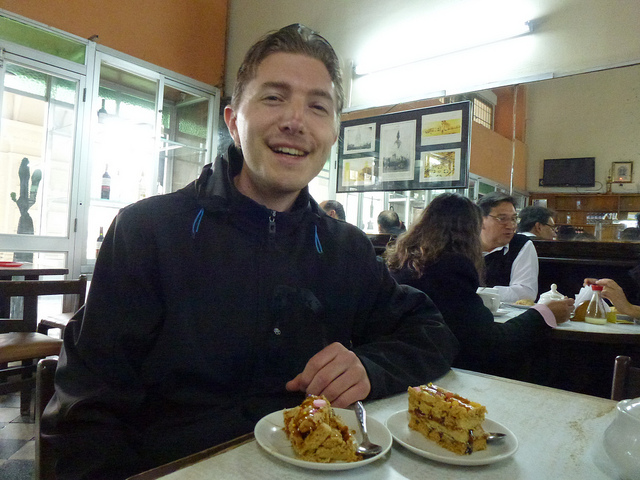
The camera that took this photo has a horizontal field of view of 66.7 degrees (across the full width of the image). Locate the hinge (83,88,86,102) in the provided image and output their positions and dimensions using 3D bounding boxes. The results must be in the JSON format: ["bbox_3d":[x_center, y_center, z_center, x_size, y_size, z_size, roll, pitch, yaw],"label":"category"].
[{"bbox_3d":[-2.174,-1.334,4.476,0.024,0.122,0.011,-2,3,-26],"label":"hinge"}]

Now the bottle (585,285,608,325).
[{"bbox_3d":[1.416,0.329,2.477,0.090,0.196,0.194,2,4,45],"label":"bottle"}]

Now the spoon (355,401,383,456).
[{"bbox_3d":[0.102,0.452,1.175,0.052,0.026,0.190,4,17,-6],"label":"spoon"}]

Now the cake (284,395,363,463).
[{"bbox_3d":[0.002,0.449,1.154,0.166,0.105,0.160,-1,3,-12],"label":"cake"}]

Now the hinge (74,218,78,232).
[{"bbox_3d":[-2.254,-0.138,4.474,0.022,0.127,0.019,-3,4,-40],"label":"hinge"}]

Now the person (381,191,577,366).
[{"bbox_3d":[0.620,0.159,2.479,1.039,0.670,0.730,-1,2,-7],"label":"person"}]

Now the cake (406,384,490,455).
[{"bbox_3d":[0.315,0.445,1.227,0.104,0.114,0.177,4,3,-37],"label":"cake"}]
